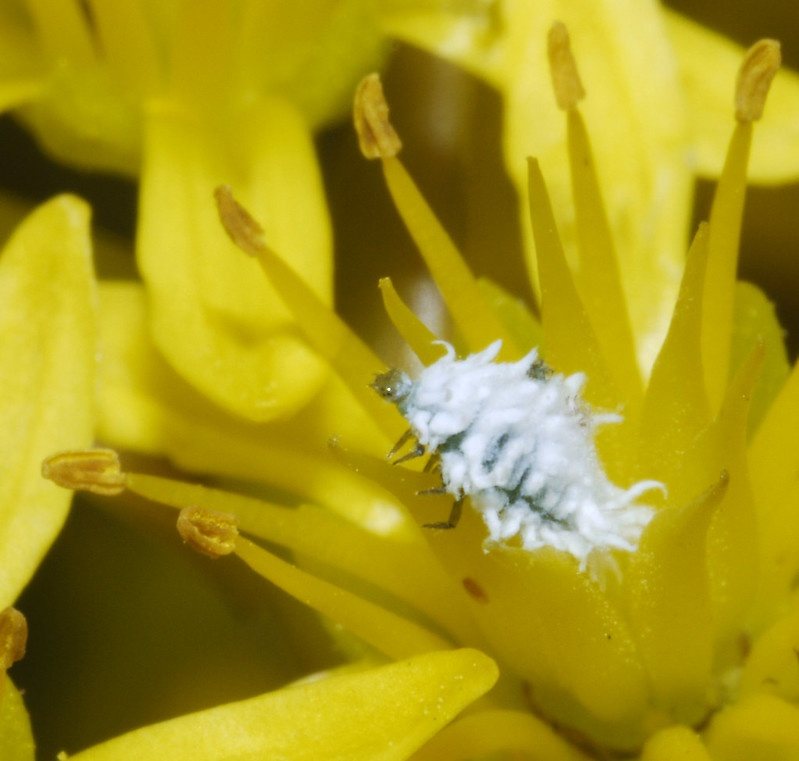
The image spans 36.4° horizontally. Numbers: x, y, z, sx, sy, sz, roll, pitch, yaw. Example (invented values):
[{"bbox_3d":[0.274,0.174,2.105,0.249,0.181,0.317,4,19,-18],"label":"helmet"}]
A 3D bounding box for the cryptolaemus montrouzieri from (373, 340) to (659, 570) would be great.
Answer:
[{"bbox_3d":[0.095,0.062,1.102,0.195,0.238,0.084,-56,27,-11],"label":"cryptolaemus montrouzieri"}]
